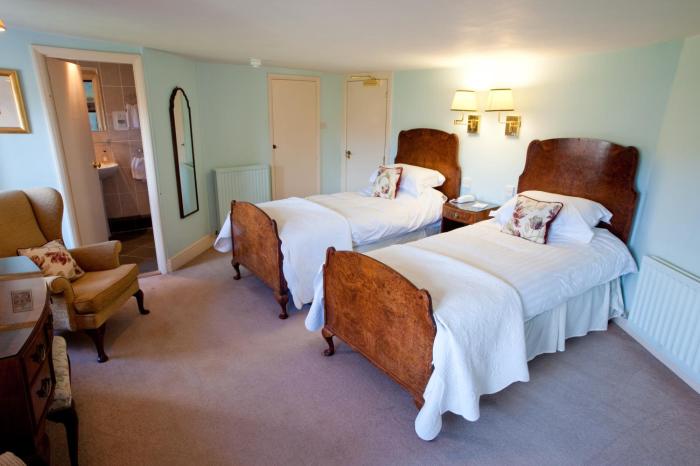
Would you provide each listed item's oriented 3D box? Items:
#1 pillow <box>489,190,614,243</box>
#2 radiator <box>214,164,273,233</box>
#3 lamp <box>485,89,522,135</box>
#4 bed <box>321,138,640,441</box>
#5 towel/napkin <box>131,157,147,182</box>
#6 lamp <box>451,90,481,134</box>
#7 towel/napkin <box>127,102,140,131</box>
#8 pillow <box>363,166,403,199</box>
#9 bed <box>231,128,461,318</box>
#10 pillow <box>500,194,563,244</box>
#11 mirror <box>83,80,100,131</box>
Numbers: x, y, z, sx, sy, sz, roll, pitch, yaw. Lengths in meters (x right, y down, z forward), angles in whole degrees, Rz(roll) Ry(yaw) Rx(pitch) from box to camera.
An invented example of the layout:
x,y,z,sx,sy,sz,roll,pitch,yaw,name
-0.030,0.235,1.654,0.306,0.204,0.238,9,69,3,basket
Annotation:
x,y,z,sx,sy,sz,roll,pitch,yaw,name
2.128,-0.173,4.736,0.737,0.226,0.668,14,44,42,pillow
-1.472,-0.472,6.025,0.887,1.050,0.118,-19,32,-36,radiator
1.827,-1.408,5.279,0.349,0.554,0.319,15,22,40,lamp
1.421,0.438,4.633,3.259,2.066,2.181,-12,21,-29,bed
-3.131,-0.959,6.643,0.271,0.334,0.169,-16,30,-39,towel/napkin
1.481,-1.539,5.723,0.379,0.544,0.343,6,18,17,lamp
-3.158,-1.695,6.556,0.134,0.360,0.037,-10,20,-30,towel/napkin
0.475,-0.672,5.988,0.157,0.491,0.510,22,2,-35,pillow
-0.036,-0.436,6.234,3.425,2.282,1.827,-13,25,-32,bed
1.864,-0.142,4.602,0.153,0.485,0.493,27,4,-29,pillow
-3.627,-1.807,6.344,0.123,0.707,0.118,-9,19,-26,mirror
